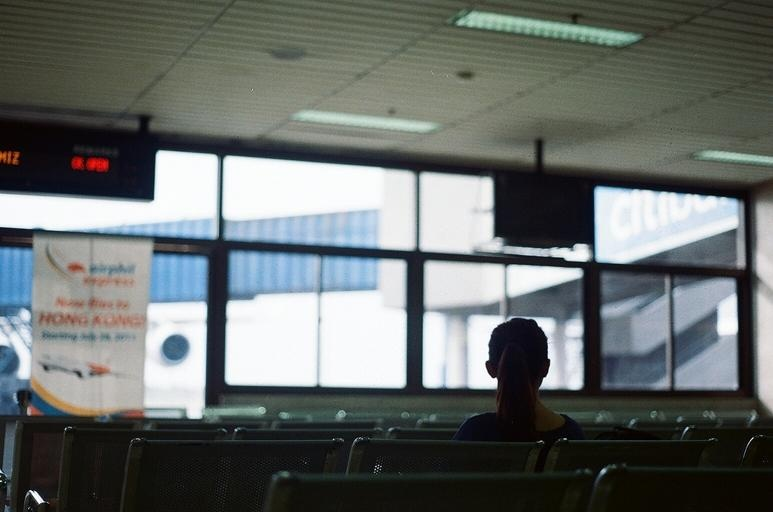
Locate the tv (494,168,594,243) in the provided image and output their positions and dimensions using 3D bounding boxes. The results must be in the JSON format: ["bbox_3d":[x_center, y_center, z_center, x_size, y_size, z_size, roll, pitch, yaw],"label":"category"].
[{"bbox_3d":[1.481,-0.432,12.849,1.302,0.789,0.661,4,-7,-26],"label":"tv"}]
